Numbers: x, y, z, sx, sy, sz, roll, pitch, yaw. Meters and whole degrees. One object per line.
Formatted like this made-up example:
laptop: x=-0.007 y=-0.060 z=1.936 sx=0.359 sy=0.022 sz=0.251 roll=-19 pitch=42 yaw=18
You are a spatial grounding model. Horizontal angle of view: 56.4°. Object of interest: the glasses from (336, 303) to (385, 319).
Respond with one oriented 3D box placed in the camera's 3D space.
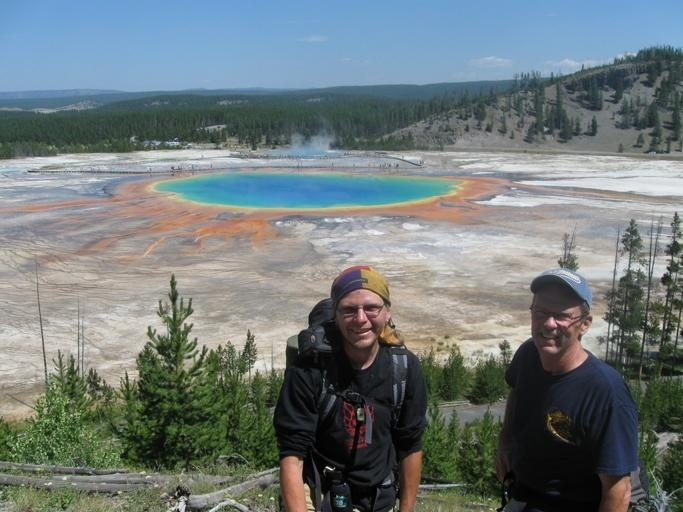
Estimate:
glasses: x=0.207 y=0.592 z=6.765 sx=0.447 sy=0.129 sz=0.114 roll=-3 pitch=5 yaw=-2
